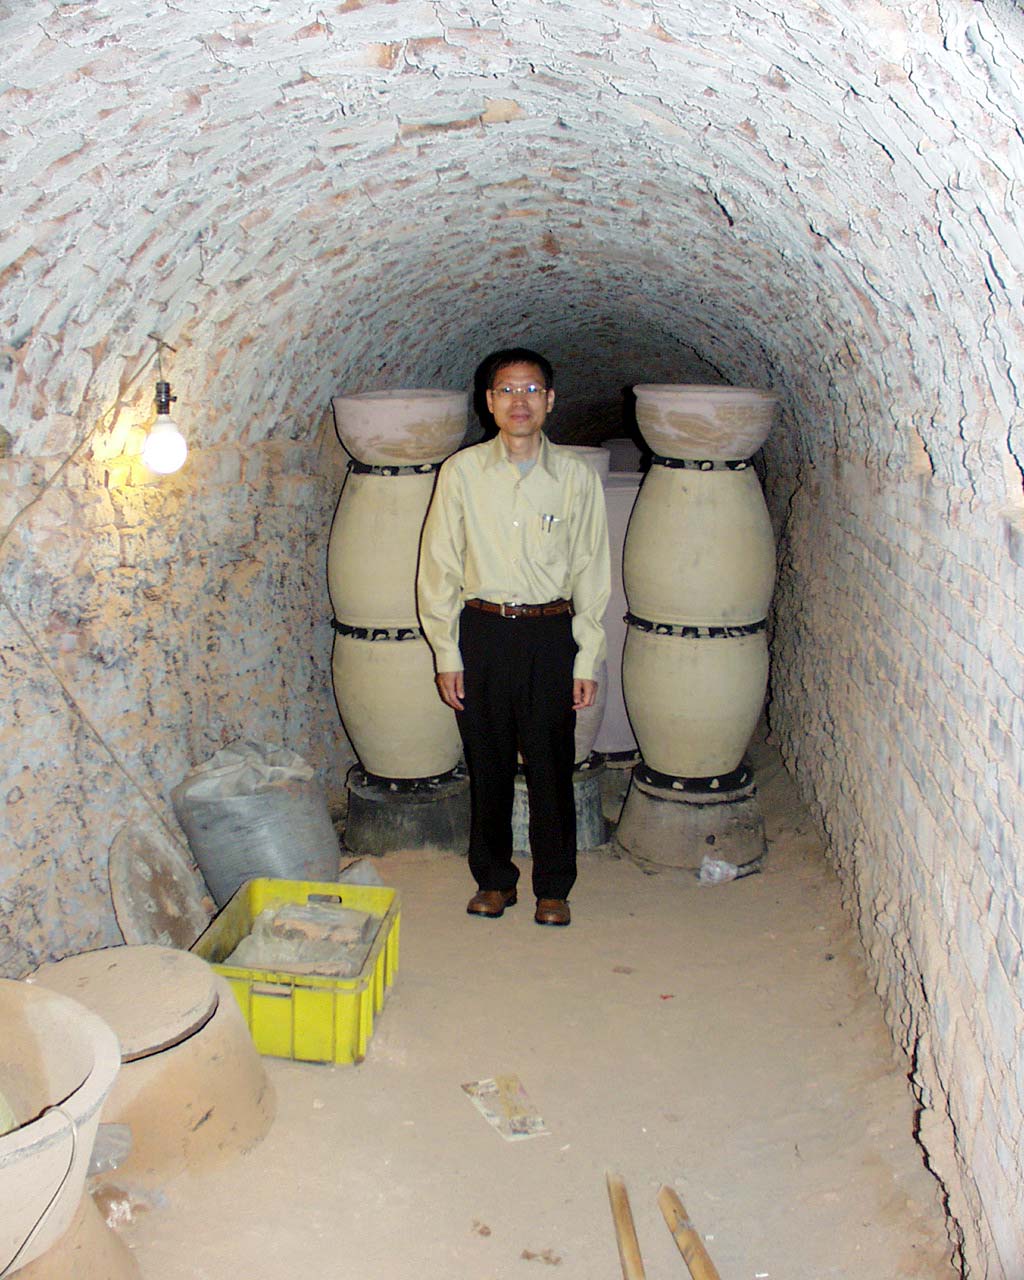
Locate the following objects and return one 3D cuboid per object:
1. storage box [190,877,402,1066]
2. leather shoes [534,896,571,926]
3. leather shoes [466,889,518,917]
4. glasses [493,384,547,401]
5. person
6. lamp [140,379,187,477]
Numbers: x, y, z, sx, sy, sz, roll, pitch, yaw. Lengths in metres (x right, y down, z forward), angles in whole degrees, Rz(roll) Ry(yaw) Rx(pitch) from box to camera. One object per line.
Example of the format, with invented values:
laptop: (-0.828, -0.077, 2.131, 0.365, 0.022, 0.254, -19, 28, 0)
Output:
storage box: (-0.516, 0.938, 2.982, 0.387, 0.175, 0.486, 3, 9, 6)
leather shoes: (0.135, 0.939, 3.608, 0.083, 0.174, 0.065, 0, 80, 1)
leather shoes: (-0.078, 0.931, 3.671, 0.077, 0.161, 0.073, -1, 80, 15)
glasses: (0.026, -0.769, 3.234, 0.156, 0.053, 0.049, -6, 37, -6)
person: (0.004, 0.077, 3.495, 0.624, 1.901, 0.930, 1, 38, 4)
lamp: (-0.937, -0.581, 2.822, 0.143, 0.211, 0.137, -12, 21, -35)
